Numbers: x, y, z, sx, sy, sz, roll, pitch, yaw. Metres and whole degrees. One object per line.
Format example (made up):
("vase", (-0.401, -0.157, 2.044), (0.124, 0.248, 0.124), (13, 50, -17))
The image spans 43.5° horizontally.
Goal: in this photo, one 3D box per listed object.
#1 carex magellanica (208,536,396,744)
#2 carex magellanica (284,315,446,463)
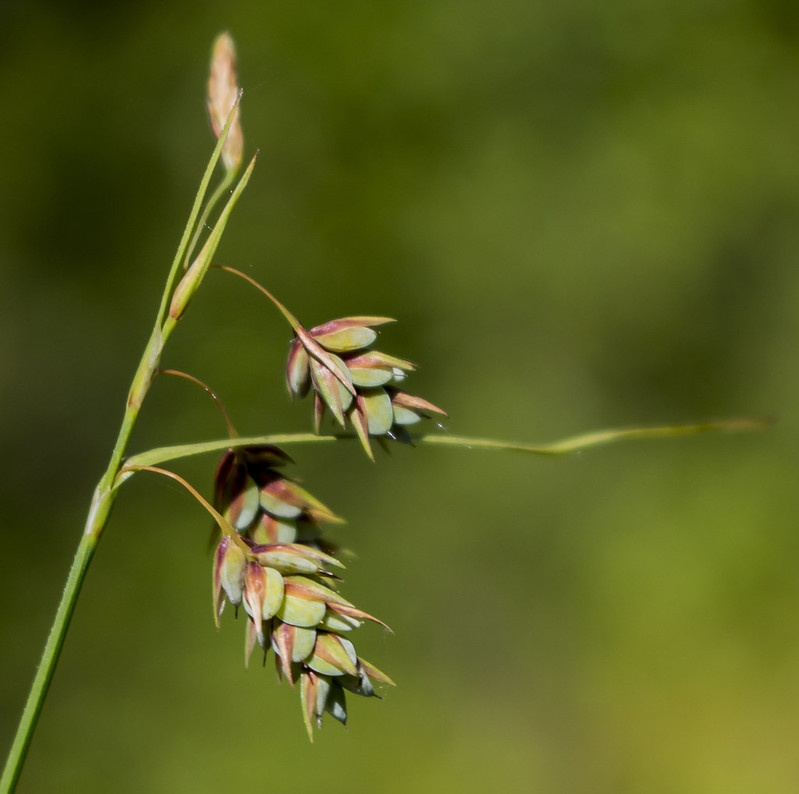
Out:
("carex magellanica", (-0.108, 0.232, 1.103), (0.246, 0.103, 0.158), (58, -33, 5))
("carex magellanica", (-0.045, 0.014, 1.142), (0.195, 0.119, 0.107), (48, -32, 3))
